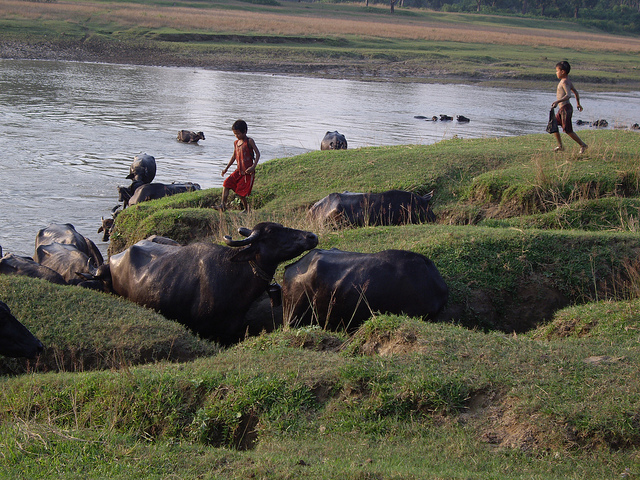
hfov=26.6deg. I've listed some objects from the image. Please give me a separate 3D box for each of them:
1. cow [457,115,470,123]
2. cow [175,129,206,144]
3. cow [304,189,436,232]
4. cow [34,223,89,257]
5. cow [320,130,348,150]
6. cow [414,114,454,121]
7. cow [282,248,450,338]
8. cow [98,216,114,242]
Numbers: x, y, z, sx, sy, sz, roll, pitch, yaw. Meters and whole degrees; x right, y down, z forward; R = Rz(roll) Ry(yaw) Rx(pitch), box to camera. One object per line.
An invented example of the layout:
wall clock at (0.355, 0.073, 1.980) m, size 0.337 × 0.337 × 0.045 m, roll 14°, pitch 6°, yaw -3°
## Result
cow at (6.834, -5.735, 63.202) m, size 0.580 × 0.245 × 0.501 m, roll 10°, pitch 13°, yaw 32°
cow at (-5.513, -4.468, 57.705) m, size 1.227 × 0.672 × 0.481 m, roll 3°, pitch 51°, yaw -4°
cow at (2.110, -0.895, 47.844) m, size 4.231 × 2.083 × 1.179 m, roll -1°, pitch -1°, yaw -18°
cow at (-9.259, -0.223, 47.816) m, size 1.887 × 1.097 × 1.069 m, roll -4°, pitch 36°, yaw -21°
cow at (0.642, -4.060, 54.887) m, size 0.866 × 0.776 × 1.695 m, roll -3°, pitch 12°, yaw -29°
cow at (5.489, -5.874, 63.741) m, size 1.733 × 0.276 × 1.082 m, roll 7°, pitch 12°, yaw 20°
cow at (1.372, 1.598, 43.927) m, size 5.014 × 2.736 × 0.888 m, roll 4°, pitch 10°, yaw 4°
cow at (-7.824, -0.436, 49.352) m, size 0.442 × 0.806 × 0.518 m, roll 12°, pitch -38°, yaw -41°
